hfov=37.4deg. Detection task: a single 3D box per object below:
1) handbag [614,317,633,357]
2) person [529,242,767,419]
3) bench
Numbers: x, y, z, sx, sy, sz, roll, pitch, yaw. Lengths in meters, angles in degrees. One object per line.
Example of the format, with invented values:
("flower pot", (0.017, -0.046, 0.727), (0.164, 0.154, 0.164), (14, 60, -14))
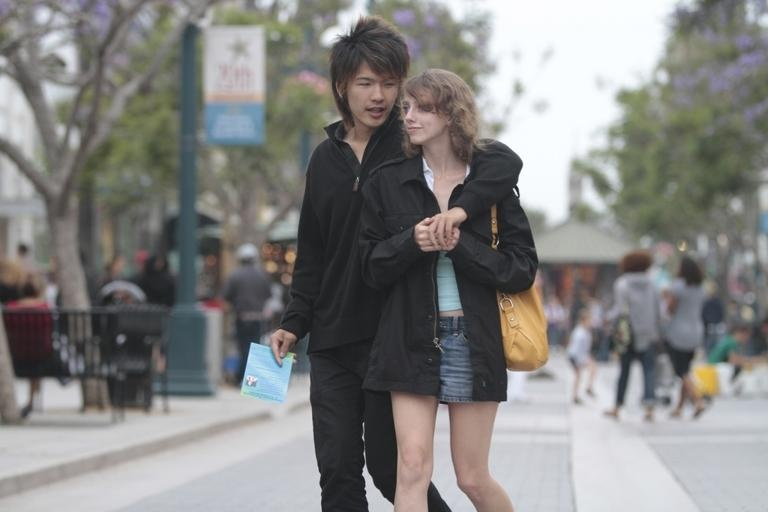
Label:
("handbag", (3.169, 1.026, 15.049), (0.128, 0.434, 0.310), (-1, 12, -33))
("person", (3.675, 0.994, 15.141), (1.143, 2.219, 1.386), (-2, -1, 34))
("bench", (-3.227, 1.090, 12.088), (1.244, 0.796, 1.117), (0, -3, -7))
